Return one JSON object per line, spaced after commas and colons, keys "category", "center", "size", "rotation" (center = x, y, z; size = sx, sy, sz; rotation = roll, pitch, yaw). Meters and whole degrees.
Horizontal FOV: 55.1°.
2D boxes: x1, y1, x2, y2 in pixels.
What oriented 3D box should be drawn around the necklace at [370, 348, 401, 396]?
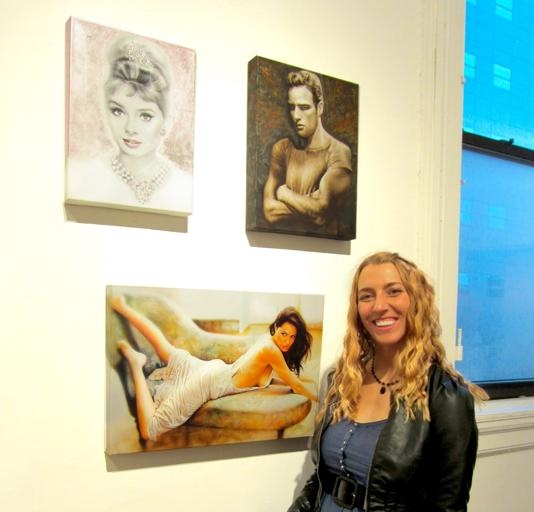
{"category": "necklace", "center": [0.394, 0.388, 1.694], "size": [0.083, 0.135, 0.023], "rotation": [0, -13, 41]}
